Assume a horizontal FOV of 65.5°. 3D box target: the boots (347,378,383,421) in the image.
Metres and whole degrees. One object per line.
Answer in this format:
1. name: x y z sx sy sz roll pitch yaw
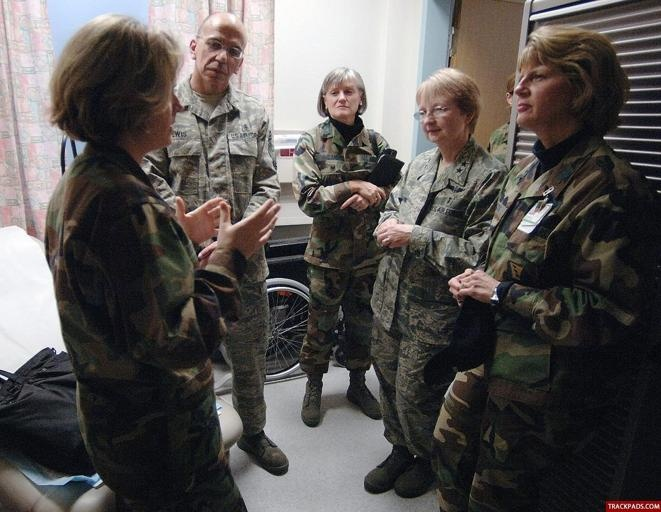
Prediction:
1. boots: 0.187 0.789 2.918 0.105 0.161 0.266 -18 25 -33

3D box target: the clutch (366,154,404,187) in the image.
1. clutch: 0.300 -0.448 2.752 0.145 0.193 0.056 11 32 -25

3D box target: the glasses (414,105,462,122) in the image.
1. glasses: 0.452 -0.585 2.113 0.121 0.035 0.117 -1 2 -33

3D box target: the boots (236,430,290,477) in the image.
1. boots: -0.322 0.912 2.524 0.322 0.125 0.120 22 35 30

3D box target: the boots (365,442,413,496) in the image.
1. boots: 0.216 0.976 2.424 0.305 0.181 0.121 -4 11 -30

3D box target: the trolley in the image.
1. trolley: -0.641 0.173 3.349 0.709 1.169 1.114 1 -6 -13
